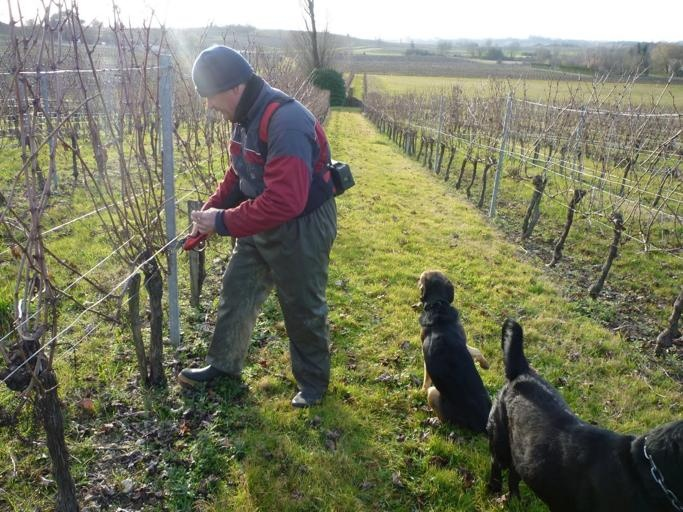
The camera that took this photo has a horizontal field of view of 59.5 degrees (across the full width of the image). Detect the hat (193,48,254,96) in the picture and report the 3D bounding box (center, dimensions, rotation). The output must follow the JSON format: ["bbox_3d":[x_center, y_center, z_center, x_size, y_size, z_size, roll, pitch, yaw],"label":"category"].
[{"bbox_3d":[-1.135,-1.752,5.752,0.414,0.393,0.491,-33,38,-11],"label":"hat"}]

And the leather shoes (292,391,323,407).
[{"bbox_3d":[-0.362,1.532,6.370,0.241,0.128,0.153,8,7,-19],"label":"leather shoes"}]

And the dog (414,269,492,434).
[{"bbox_3d":[1.136,1.004,6.210,0.601,1.724,0.736,-21,22,-30],"label":"dog"}]
